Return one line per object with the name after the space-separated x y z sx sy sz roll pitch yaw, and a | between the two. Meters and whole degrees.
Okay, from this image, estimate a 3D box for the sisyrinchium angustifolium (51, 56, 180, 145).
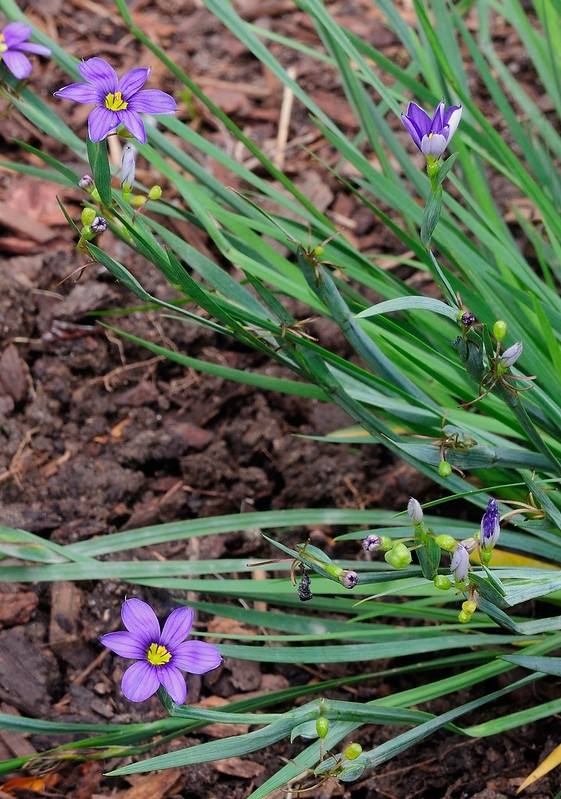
-0.209 -0.394 0.916 0.103 0.122 0.043 -8 93 -45 | sisyrinchium angustifolium

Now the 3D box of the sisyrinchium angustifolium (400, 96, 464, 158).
0.148 -0.283 0.748 0.058 0.069 0.065 -15 38 -17 | sisyrinchium angustifolium
